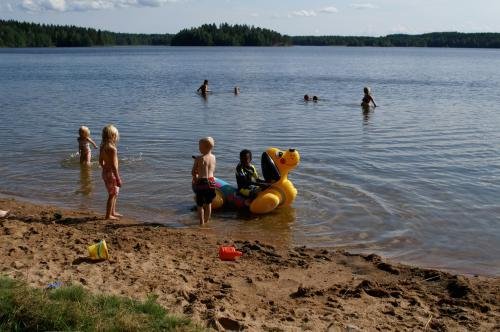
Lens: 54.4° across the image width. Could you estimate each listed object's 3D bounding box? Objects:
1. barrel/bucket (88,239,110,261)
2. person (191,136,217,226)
[{"bbox_3d":[-3.004,1.692,9.783,0.319,0.378,0.394,-9,28,-8],"label":"barrel/bucket"},{"bbox_3d":[-1.111,0.385,11.821,0.472,2.102,0.575,12,21,34],"label":"person"}]
